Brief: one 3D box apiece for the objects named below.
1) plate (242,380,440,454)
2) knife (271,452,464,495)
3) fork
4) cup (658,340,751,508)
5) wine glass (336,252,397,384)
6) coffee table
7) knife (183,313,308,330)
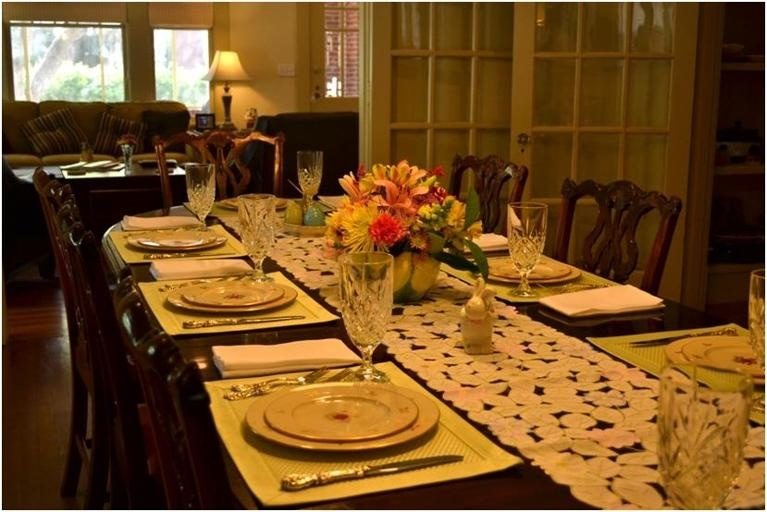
[{"bbox_3d":[-0.066,0.261,0.911,0.319,0.035,0.183,-2,11,-3],"label":"plate"},{"bbox_3d":[-0.029,0.321,0.806,0.203,0.015,0.028,-3,12,-17],"label":"knife"},{"bbox_3d":[-0.186,0.238,1.035,0.165,0.015,0.023,-11,3,-11],"label":"fork"},{"bbox_3d":[0.412,0.246,0.719,0.100,0.202,0.044,6,14,31],"label":"cup"},{"bbox_3d":[-0.031,0.113,1.115,0.104,0.246,0.173,-2,12,-2],"label":"wine glass"},{"bbox_3d":[-2.663,-0.197,5.000,1.805,0.888,0.971,-6,18,-27],"label":"coffee table"},{"bbox_3d":[-0.340,0.161,1.341,0.194,0.021,0.028,-1,10,-7],"label":"knife"}]
